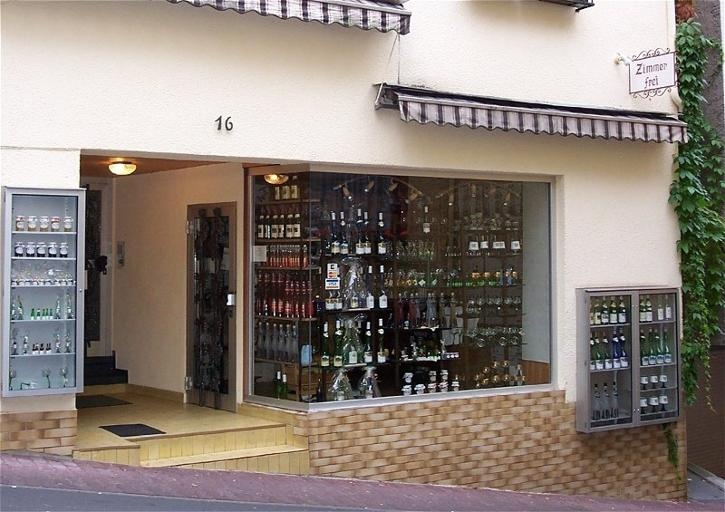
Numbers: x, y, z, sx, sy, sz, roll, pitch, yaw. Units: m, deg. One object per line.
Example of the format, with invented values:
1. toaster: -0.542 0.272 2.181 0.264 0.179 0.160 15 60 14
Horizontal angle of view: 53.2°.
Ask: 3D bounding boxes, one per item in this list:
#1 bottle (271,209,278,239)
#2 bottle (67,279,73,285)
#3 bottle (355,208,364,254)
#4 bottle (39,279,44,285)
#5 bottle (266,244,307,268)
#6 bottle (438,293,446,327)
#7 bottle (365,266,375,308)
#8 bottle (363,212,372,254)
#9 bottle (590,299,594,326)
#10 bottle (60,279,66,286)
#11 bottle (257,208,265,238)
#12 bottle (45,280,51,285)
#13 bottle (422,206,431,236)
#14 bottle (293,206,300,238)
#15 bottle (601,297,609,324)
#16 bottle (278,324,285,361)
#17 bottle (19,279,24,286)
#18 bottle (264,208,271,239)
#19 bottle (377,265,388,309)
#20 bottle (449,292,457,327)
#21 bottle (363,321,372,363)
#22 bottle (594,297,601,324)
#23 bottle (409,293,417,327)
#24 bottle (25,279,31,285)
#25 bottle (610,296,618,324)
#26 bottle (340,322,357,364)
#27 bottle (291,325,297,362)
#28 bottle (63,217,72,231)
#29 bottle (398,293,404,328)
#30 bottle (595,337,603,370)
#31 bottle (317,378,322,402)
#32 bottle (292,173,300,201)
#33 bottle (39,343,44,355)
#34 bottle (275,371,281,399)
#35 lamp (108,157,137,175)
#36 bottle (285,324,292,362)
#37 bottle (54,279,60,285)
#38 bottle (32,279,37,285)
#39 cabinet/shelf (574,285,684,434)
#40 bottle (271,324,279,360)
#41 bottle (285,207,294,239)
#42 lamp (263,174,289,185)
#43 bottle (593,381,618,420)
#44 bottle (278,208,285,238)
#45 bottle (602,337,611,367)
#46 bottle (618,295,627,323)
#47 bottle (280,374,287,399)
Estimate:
1. bottle: -1.122 -0.409 9.303 0.051 0.344 0.130 7 -5 -44
2. bottle: -3.105 0.278 7.698 0.058 0.060 0.059 0 2 -19
3. bottle: -0.018 -0.304 9.123 0.167 0.577 0.059 6 -4 -30
4. bottle: -3.380 0.276 7.655 0.065 0.063 0.047 1 2 -8
5. bottle: -0.948 0.000 9.208 0.689 0.304 0.140 1 -4 45
6. bottle: 1.076 0.714 9.535 0.141 0.428 0.016 5 -4 -27
7. bottle: 0.111 0.402 9.219 0.150 0.543 0.051 6 -4 -33
8. bottle: 0.061 -0.289 9.161 0.158 0.543 0.051 6 -4 -39
9. bottle: 3.123 0.775 9.825 0.028 0.307 0.119 0 -5 45
10. bottle: -3.175 0.280 7.698 0.058 0.042 0.059 0 5 0
11. bottle: -1.319 -0.415 9.461 0.047 0.369 0.134 7 -4 -41
12. bottle: -3.327 0.276 7.666 0.049 0.050 0.089 0 -5 -14
13. bottle: 0.846 -0.473 9.413 0.126 0.359 0.036 6 -4 -32
14. bottle: -0.818 -0.421 9.078 0.114 0.380 0.053 1 -5 42
15. bottle: 3.336 0.772 9.928 0.128 0.313 0.027 6 -4 -29
16. bottle: -1.019 1.103 9.239 0.124 0.442 0.030 0 -5 44
17. bottle: -3.564 0.277 7.562 0.055 0.104 0.055 -1 -6 0
18. bottle: -1.219 -0.408 9.380 0.049 0.356 0.115 7 -4 -40
19. bottle: 0.274 0.399 9.258 0.142 0.552 0.074 4 -3 -7
20. bottle: 1.204 0.708 9.582 0.122 0.451 0.019 5 -4 -26
21. bottle: 0.081 1.104 9.206 0.138 0.539 0.027 5 -4 -26
22. bottle: 3.215 0.763 9.877 0.133 0.339 0.030 6 -4 -38
23. bottle: 0.662 0.712 9.385 0.118 0.385 0.014 5 -4 -23
24. bottle: -3.512 0.278 7.601 0.055 0.104 0.055 1 -2 0
25. bottle: 3.460 0.761 9.967 0.126 0.341 0.040 6 -4 -31
26. bottle: -0.147 1.097 9.139 0.224 0.556 0.041 5 -4 -28
27. bottle: -0.849 1.095 9.100 0.025 0.471 0.127 7 -5 -44
28. bottle: -3.115 -0.333 7.685 0.120 0.169 0.122 1 5 0
29. bottle: 0.505 0.703 9.336 0.104 0.394 0.015 5 -4 -15
30. bottle: 3.241 1.336 9.921 0.176 0.445 0.049 6 -4 -34
31. bottle: -0.521 1.665 8.967 0.061 0.255 0.061 4 -3 0
32. bottle: -0.832 -0.860 9.028 0.074 0.300 0.168 6 -4 -33
33. bottle: -3.371 0.979 7.631 0.048 0.077 0.050 4 -3 0
34. bottle: -1.069 1.642 9.261 0.107 0.358 0.029 1 -4 40
35. lamp: -3.372 -1.281 10.313 0.291 0.167 0.297 -1 -3 42
36. bottle: -0.931 1.090 9.167 0.118 0.450 0.020 1 -5 41
37. bottle: -3.238 0.277 7.695 0.053 0.057 0.041 -4 -7 40
38. bottle: -3.451 0.275 7.640 0.049 0.047 0.061 5 -4 -28
39. cabinet/shelf: 3.648 1.403 10.037 2.067 2.513 0.638 0 -1 -24
40. bottle: -1.123 1.099 9.324 0.038 0.437 0.120 7 -5 -44
41. bottle: -0.918 -0.420 9.153 0.054 0.374 0.139 7 -5 -44
42. lamp: -1.085 -0.994 9.247 0.184 0.050 0.188 -1 -21 2
43. bottle: 3.339 1.998 9.944 0.442 0.511 0.080 6 -4 -32
44. bottle: -1.022 -0.410 9.230 0.047 0.350 0.108 7 -5 -43
45. bottle: 3.370 1.347 9.969 0.152 0.417 0.022 5 -4 -20
46. bottle: 3.598 0.748 10.001 0.138 0.371 0.037 5 -4 -26
47. bottle: -0.990 1.656 9.187 0.020 0.314 0.113 7 -5 -43
